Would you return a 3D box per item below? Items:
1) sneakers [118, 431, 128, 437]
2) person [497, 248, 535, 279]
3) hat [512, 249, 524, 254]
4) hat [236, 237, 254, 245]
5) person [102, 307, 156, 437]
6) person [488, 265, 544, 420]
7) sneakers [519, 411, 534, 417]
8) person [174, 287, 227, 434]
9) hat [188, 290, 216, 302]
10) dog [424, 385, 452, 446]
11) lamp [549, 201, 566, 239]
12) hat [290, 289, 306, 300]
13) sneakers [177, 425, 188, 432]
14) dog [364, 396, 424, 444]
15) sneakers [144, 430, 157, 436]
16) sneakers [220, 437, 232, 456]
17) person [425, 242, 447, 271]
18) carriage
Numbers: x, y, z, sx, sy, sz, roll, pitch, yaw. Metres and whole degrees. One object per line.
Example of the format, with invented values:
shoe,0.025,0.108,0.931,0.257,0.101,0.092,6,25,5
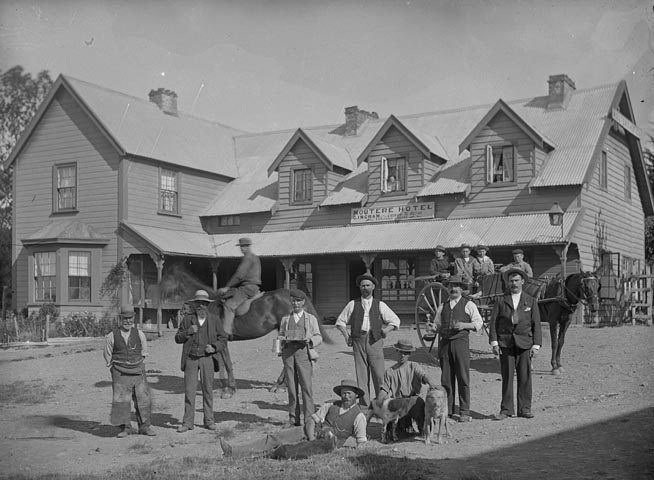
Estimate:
sneakers,-4.375,4.132,19.070,0.223,0.155,0.149,-2,-8,11
person,5.747,0.686,27.010,0.844,0.853,0.526,-1,-4,12
hat,5.207,0.323,24.516,0.297,0.185,0.342,-1,0,10
hat,-2.459,0.035,26.910,0.361,0.138,0.398,0,-1,-33
person,-4.275,2.850,19.237,0.987,2.737,0.455,1,-7,-16
person,4.145,2.288,19.748,1.092,3.272,0.637,-2,-7,13
sneakers,4.324,3.793,19.466,0.308,0.143,0.124,-4,-3,34
person,-2.784,2.619,19.523,1.002,3.025,0.439,1,-7,-9
hat,-2.809,1.263,19.967,0.499,0.243,0.581,1,-3,-7
dog,2.224,3.557,18.232,0.525,1.167,1.087,-1,-7,7
lamp,7.909,-0.599,30.846,0.543,1.337,1.700,-2,-8,15
hat,-0.675,1.225,20.143,0.425,0.184,0.570,11,-3,-1
sneakers,-3.135,4.049,19.229,0.204,0.164,0.275,5,-10,-38
dog,1.448,3.639,18.458,1.287,0.857,0.421,-3,8,-2
sneakers,-3.770,4.115,19.060,0.194,0.130,0.235,6,-10,-40
sneakers,-1.968,4.080,17.563,0.184,0.323,0.128,4,19,37
person,3.319,0.580,26.259,0.494,0.845,0.731,-2,-7,9
carriage,4.782,2.304,24.511,2.852,2.718,4.850,4,-7,-38
